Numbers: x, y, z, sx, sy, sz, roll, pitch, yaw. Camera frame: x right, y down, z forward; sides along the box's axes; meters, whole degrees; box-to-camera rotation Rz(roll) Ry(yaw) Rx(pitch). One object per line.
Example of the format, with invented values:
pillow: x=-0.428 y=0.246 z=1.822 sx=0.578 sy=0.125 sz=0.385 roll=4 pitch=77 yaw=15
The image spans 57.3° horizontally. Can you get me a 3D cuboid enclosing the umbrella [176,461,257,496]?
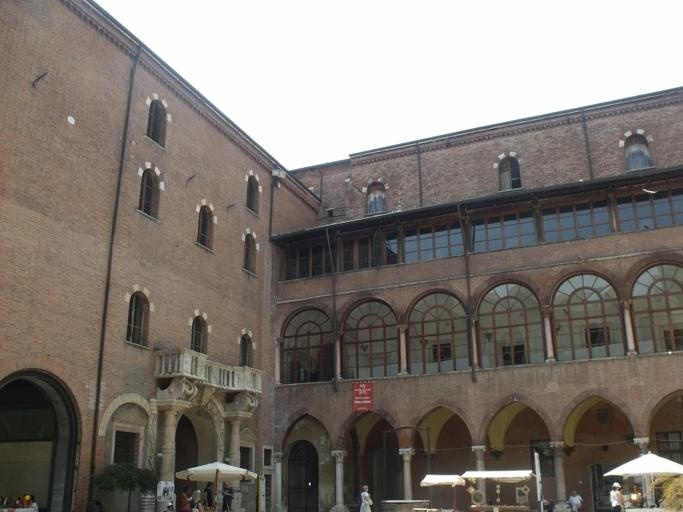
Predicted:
umbrella: x=-4.652 y=7.961 z=22.927 sx=2.217 sy=0.883 sz=2.377 roll=-1 pitch=-33 yaw=7
